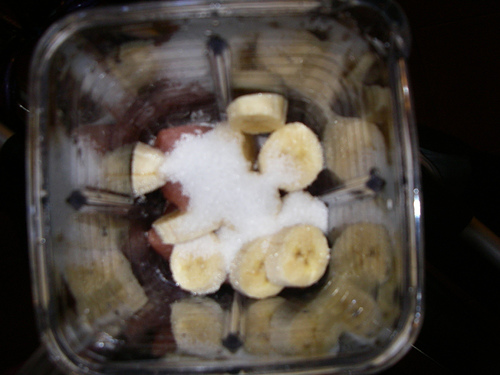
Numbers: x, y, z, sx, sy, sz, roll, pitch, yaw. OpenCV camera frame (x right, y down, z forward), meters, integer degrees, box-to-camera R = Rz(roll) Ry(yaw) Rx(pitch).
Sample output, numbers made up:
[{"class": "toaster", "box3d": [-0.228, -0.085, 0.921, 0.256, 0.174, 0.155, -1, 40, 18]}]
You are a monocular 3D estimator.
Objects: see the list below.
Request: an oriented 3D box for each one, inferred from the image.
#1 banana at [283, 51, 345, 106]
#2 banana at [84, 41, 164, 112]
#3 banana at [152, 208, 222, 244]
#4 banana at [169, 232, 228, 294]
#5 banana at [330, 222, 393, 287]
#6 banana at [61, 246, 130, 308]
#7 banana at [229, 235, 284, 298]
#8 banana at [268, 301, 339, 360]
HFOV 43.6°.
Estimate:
[{"class": "banana", "box3d": [0.187, -0.315, 1.811, 0.144, 0.141, 0.067, 67, 30, -20]}, {"class": "banana", "box3d": [-0.353, -0.326, 1.796, 0.244, 0.118, 0.122, -39, 84, -3]}, {"class": "banana", "box3d": [-0.191, 0.118, 1.799, 0.151, 0.048, 0.108, -14, 101, -2]}, {"class": "banana", "box3d": [-0.149, 0.226, 1.894, 0.162, 0.055, 0.233, 15, 52, 8]}, {"class": "banana", "box3d": [0.326, 0.194, 1.809, 0.037, 0.151, 0.186, 1, 78, -49]}, {"class": "banana", "box3d": [-0.443, 0.251, 1.792, 0.140, 0.114, 0.169, 1, 95, -26]}, {"class": "banana", "box3d": [0.031, 0.256, 1.886, 0.167, 0.057, 0.212, 21, 38, 15]}, {"class": "banana", "box3d": [0.149, 0.431, 1.792, 0.205, 0.098, 0.148, 30, 85, 4]}]
